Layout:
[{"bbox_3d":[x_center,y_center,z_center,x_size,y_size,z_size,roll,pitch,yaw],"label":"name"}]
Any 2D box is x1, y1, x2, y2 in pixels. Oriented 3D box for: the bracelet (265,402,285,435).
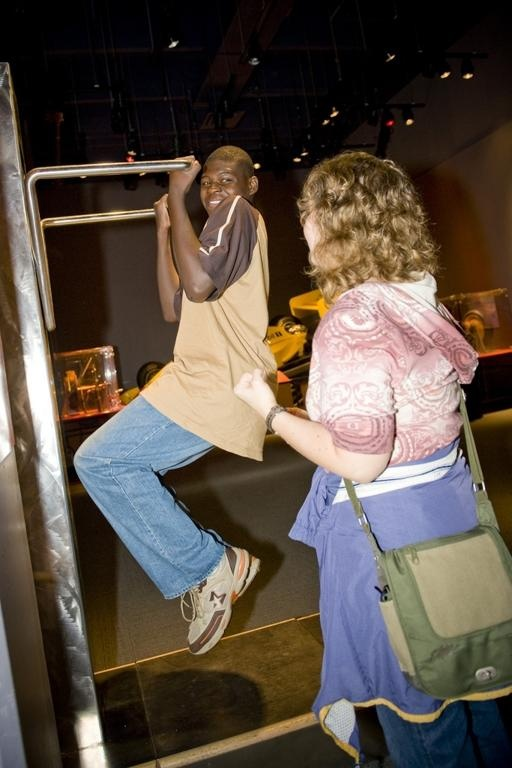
[{"bbox_3d":[0.029,0.064,1.090,0.049,0.053,0.053,-2,-6,10],"label":"bracelet"}]
